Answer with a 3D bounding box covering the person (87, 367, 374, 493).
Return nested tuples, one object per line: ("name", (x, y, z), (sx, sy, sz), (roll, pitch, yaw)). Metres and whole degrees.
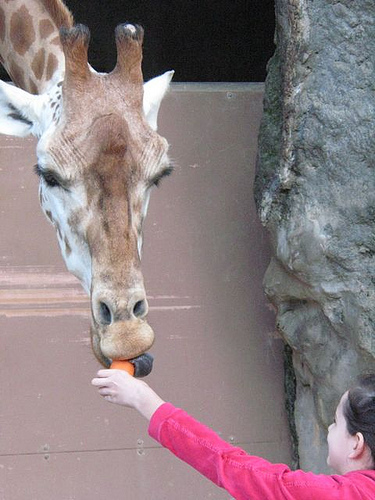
("person", (0.192, 0.699, 4.477), (1.177, 0.459, 0.306), (7, 15, 21))
